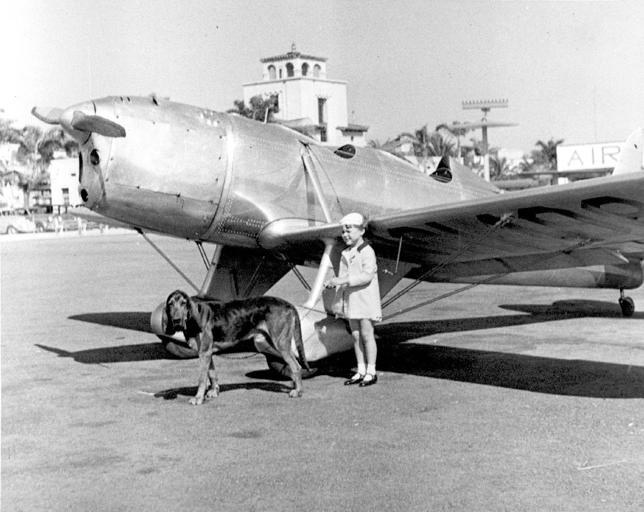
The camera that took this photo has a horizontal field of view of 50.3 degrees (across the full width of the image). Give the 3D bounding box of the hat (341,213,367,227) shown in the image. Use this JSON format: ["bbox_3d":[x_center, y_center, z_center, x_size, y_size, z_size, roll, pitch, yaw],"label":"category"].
[{"bbox_3d":[0.319,-0.346,6.740,0.154,0.119,0.230,1,0,26],"label":"hat"}]

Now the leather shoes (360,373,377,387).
[{"bbox_3d":[0.461,1.214,6.697,0.069,0.070,0.199,-7,-10,26],"label":"leather shoes"}]

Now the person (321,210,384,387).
[{"bbox_3d":[0.310,0.421,6.688,0.529,1.659,0.460,-1,4,-7],"label":"person"}]

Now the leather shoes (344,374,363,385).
[{"bbox_3d":[0.281,1.209,6.728,0.212,0.099,0.078,-1,-3,13],"label":"leather shoes"}]
